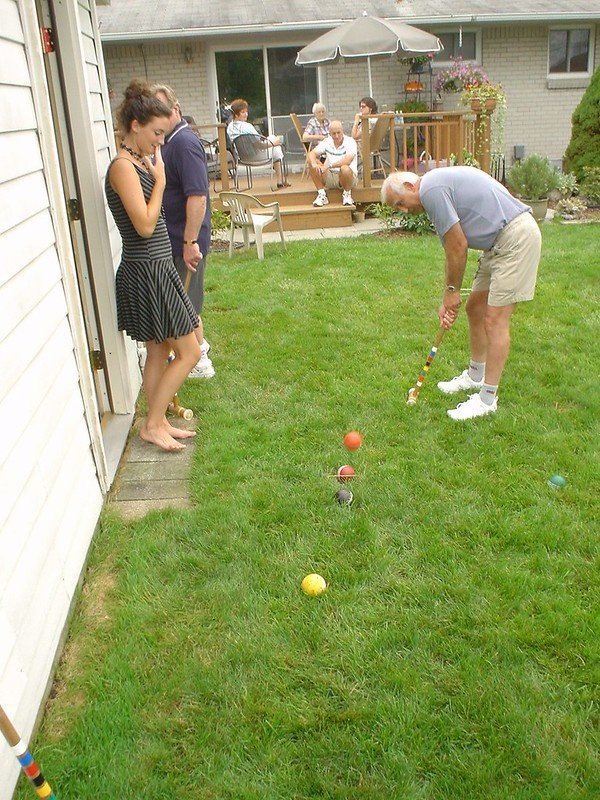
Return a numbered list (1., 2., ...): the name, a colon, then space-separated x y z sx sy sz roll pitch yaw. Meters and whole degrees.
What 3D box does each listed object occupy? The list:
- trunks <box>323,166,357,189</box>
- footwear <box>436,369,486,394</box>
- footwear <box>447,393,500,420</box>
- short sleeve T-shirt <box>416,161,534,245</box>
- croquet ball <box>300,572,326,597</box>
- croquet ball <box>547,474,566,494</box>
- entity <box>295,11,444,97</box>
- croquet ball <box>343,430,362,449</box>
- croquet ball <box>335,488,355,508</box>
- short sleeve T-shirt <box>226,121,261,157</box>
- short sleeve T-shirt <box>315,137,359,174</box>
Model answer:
1. trunks: 0.561 -3.661 10.832 0.381 0.195 0.411 3 37 14
2. footwear: 1.083 -0.132 4.412 0.321 0.185 0.132 -2 7 -8
3. footwear: 1.039 0.039 4.007 0.321 0.174 0.133 -10 5 -1
4. short sleeve T-shirt: 0.985 -1.091 3.799 0.624 0.483 0.302 -7 22 -13
5. croquet ball: 0.051 0.688 2.418 0.067 0.096 0.070 2 3 0
6. croquet ball: 1.227 0.397 3.121 0.056 0.079 0.067 5 43 14
7. entity: 1.108 -5.957 10.730 2.238 0.640 0.969 3 24 9
8. croquet ball: 0.294 0.220 3.621 0.100 0.085 0.106 -1 23 1
9. croquet ball: 0.211 0.459 3.060 0.063 0.082 0.076 2 67 18
10. short sleeve T-shirt: -0.953 -4.418 10.845 0.469 0.415 1.016 -4 24 -6
11. short sleeve T-shirt: 0.589 -3.942 10.567 0.558 0.647 0.364 8 43 12
